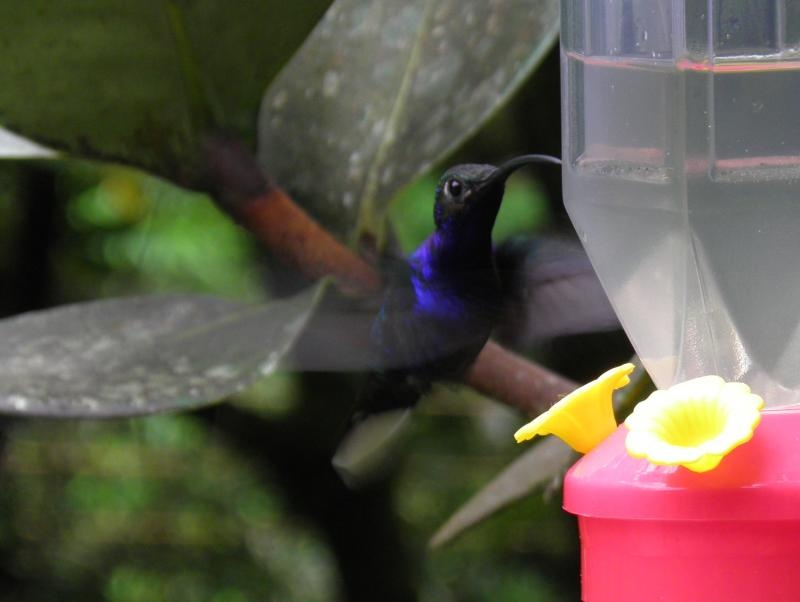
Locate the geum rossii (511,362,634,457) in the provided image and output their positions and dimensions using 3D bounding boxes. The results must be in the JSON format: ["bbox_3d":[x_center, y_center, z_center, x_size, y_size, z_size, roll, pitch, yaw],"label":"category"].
[{"bbox_3d":[0.166,0.108,0.958,0.081,0.079,0.106,-7,83,39],"label":"geum rossii"}]

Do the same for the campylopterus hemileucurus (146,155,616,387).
[{"bbox_3d":[0.029,-0.036,1.372,0.321,0.430,0.421,-11,92,0],"label":"campylopterus hemileucurus"}]

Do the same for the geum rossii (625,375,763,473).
[{"bbox_3d":[0.254,0.096,0.878,0.076,0.095,0.089,1,92,-3],"label":"geum rossii"}]
